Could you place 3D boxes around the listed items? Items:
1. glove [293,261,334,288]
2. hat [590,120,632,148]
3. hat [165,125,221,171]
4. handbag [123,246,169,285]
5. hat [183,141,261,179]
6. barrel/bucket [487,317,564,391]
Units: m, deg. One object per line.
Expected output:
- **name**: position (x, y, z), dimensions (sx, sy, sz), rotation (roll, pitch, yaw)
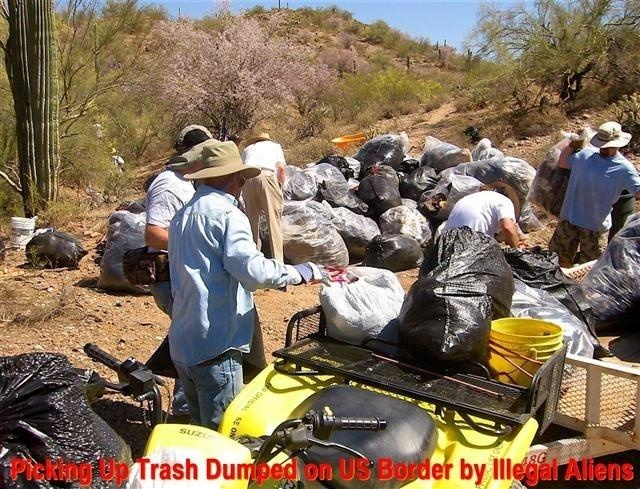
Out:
- **glove**: position (-0.030, 0.172, 3.107), dimensions (0.126, 0.072, 0.200), rotation (27, 12, 35)
- **hat**: position (2.961, -1.096, 5.635), dimensions (0.345, 0.286, 0.361), rotation (4, 4, 17)
- **hat**: position (-0.849, -0.732, 4.161), dimensions (0.233, 0.322, 0.449), rotation (-29, 16, -7)
- **handbag**: position (-1.179, 0.153, 3.810), dimensions (0.317, 0.224, 0.199), rotation (2, 4, -9)
- **hat**: position (-0.649, -0.478, 3.246), dimensions (0.395, 0.176, 0.380), rotation (-24, 16, -18)
- **barrel/bucket**: position (1.126, 0.571, 3.096), dimensions (0.396, 0.265, 0.377), rotation (-1, 10, 0)
